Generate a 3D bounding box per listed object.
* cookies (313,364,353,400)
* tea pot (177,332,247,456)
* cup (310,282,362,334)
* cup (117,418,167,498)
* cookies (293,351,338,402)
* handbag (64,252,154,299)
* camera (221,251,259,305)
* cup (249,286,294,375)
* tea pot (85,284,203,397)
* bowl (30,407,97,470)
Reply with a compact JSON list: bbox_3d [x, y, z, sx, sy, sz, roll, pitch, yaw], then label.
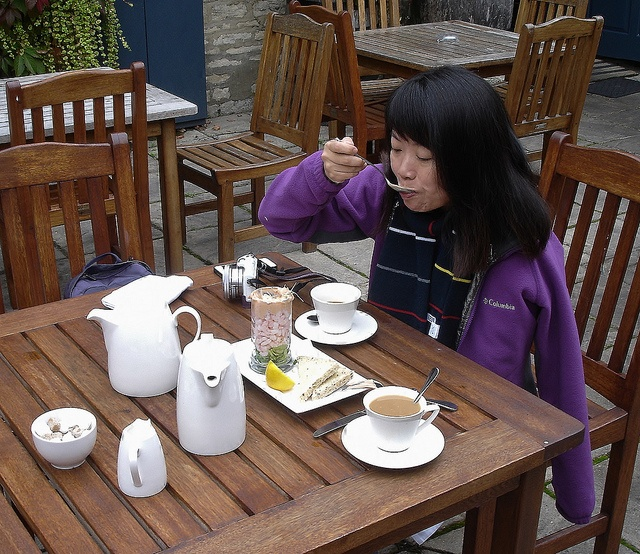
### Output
[{"bbox_3d":[0.032,0.206,0.973,0.054,0.053,0.013,-34,88,-39],"label":"cookies"},{"bbox_3d":[-0.177,0.179,0.852,0.114,0.180,0.189,-2,26,-10],"label":"tea pot"},{"bbox_3d":[0.028,0.060,1.183,0.113,0.088,0.118,1,27,0],"label":"cup"},{"bbox_3d":[-0.256,0.266,0.776,0.077,0.097,0.105,1,28,-9],"label":"cup"},{"bbox_3d":[-0.015,0.197,1.000,0.062,0.016,0.076,21,43,33],"label":"cookies"},{"bbox_3d":[-0.656,-0.009,1.568,0.139,0.072,0.127,-22,63,-18],"label":"handbag"},{"bbox_3d":[-0.207,0.009,1.397,0.106,0.153,0.154,2,25,1],"label":"camera"},{"bbox_3d":[-0.101,0.115,1.042,0.124,0.204,0.130,2,28,-1],"label":"cup"},{"bbox_3d":[-0.313,0.125,1.069,0.272,0.204,0.190,-3,22,-9],"label":"tea pot"},{"bbox_3d":[-0.412,0.245,0.812,0.095,0.062,0.093,0,23,0],"label":"bowl"}]
